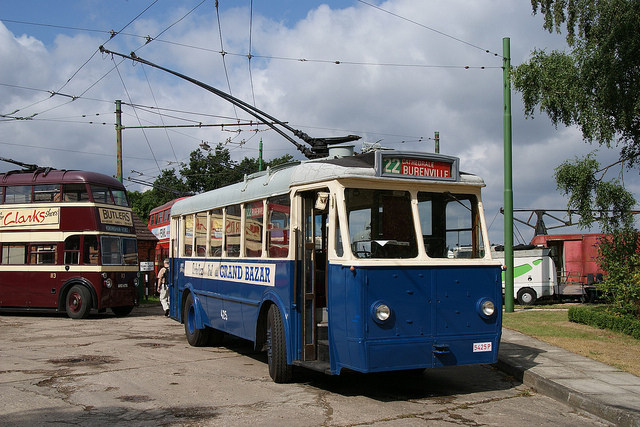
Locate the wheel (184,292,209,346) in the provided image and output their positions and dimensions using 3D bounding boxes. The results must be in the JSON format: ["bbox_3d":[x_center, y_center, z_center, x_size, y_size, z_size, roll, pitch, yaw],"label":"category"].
[{"bbox_3d":[-3.544,3.067,16.707,0.489,1.636,1.564,2,0,-28],"label":"wheel"}]

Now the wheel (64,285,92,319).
[{"bbox_3d":[-9.823,3.579,23.584,1.239,1.355,0.467,-4,-10,36],"label":"wheel"}]

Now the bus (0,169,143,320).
[{"bbox_3d":[-10.633,1.198,24.584,5.197,5.962,1.960,-1,0,14],"label":"bus"}]

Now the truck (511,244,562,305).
[{"bbox_3d":[11.580,3.314,31.017,1.796,3.248,3.645,-1,0,37],"label":"truck"}]

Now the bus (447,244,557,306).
[{"bbox_3d":[9.284,3.081,30.662,5.861,3.292,2.327,0,9,-11],"label":"bus"}]

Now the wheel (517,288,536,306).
[{"bbox_3d":[10.718,4.343,30.188,0.804,0.855,0.291,-1,-5,6],"label":"wheel"}]
